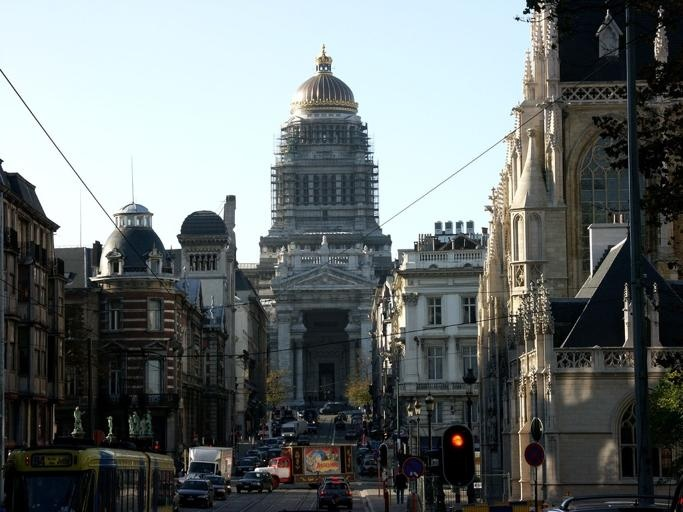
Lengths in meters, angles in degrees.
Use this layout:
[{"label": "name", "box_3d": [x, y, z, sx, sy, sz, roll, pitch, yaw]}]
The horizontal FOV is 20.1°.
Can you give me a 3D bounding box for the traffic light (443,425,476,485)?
[{"label": "traffic light", "box_3d": [3.667, 6.245, 60.268, 1.008, 1.883, 0.575, -2, -11, 3]}]
